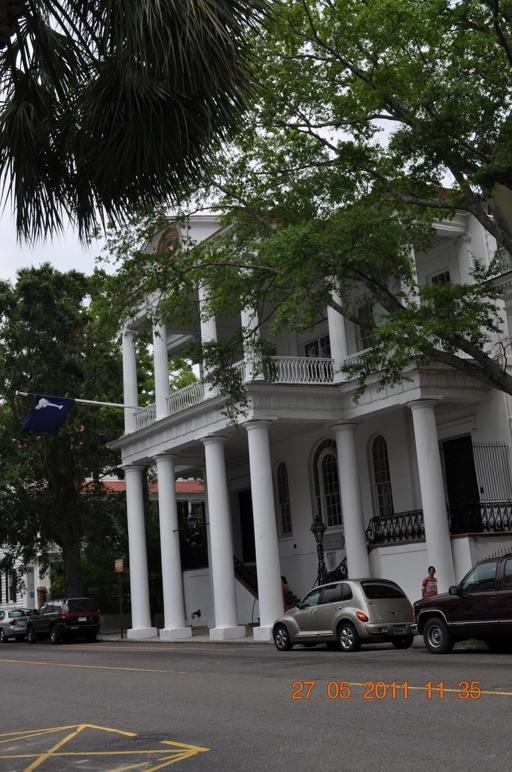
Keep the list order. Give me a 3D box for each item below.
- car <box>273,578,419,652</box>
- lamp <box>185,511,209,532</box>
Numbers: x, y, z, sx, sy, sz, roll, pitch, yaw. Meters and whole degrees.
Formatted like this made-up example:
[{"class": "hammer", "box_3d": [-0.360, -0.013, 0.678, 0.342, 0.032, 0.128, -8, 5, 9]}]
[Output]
[{"class": "car", "box_3d": [2.029, 5.267, 16.907, 1.683, 1.337, 3.081, 13, -19, -38]}, {"class": "lamp", "box_3d": [-3.045, 7.033, 36.285, 0.872, 1.144, 1.104, -5, -5, 41]}]
